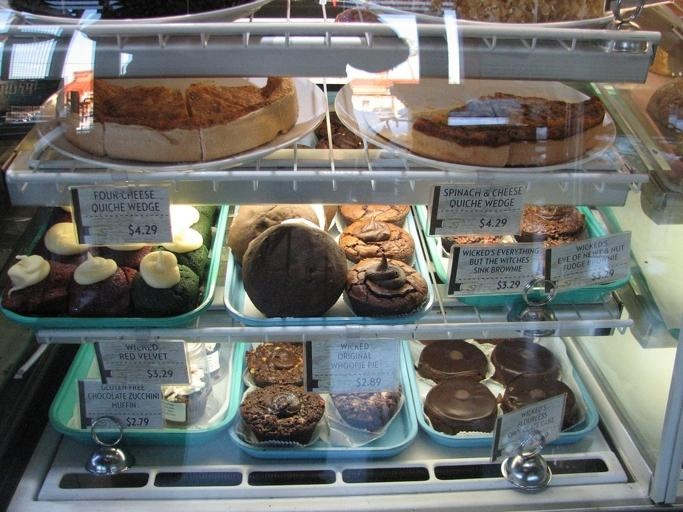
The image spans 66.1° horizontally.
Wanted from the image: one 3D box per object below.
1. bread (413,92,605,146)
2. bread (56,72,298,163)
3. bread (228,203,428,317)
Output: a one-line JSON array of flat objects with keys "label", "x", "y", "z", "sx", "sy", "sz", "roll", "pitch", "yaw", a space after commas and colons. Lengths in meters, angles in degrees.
[{"label": "bread", "x": 0.378, "y": -0.307, "z": 1.184, "sx": 0.348, "sy": 0.041, "sz": 0.170, "roll": -3, "pitch": 20, "yaw": -1}, {"label": "bread", "x": -0.371, "y": -0.360, "z": 1.265, "sx": 0.515, "sy": 0.086, "sz": 0.427, "roll": 10, "pitch": 39, "yaw": 11}, {"label": "bread", "x": -0.162, "y": 0.020, "z": 1.470, "sx": 0.467, "sy": 0.118, "sz": 0.363, "roll": -1, "pitch": 54, "yaw": -8}]
